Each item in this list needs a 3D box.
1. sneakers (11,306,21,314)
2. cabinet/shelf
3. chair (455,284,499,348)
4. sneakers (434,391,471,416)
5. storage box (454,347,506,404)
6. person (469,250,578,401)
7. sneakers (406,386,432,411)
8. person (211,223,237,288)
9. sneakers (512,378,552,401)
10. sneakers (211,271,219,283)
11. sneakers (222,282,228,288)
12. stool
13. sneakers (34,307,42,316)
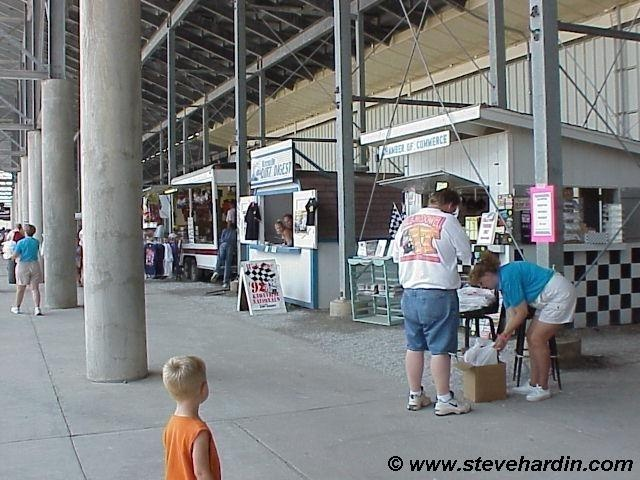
[{"bbox_3d":[-5.755,1.322,12.829,0.117,0.137,0.311,2,4,-30],"label":"sneakers"},{"bbox_3d":[0.985,0.866,11.576,0.611,1.071,0.839,-3,-2,-32],"label":"cabinet/shelf"},{"bbox_3d":[1.776,0.878,7.813,0.466,0.644,0.506,16,-25,-39],"label":"chair"},{"bbox_3d":[1.270,1.609,6.659,0.404,0.219,0.157,0,0,-18],"label":"sneakers"},{"bbox_3d":[1.717,1.454,7.035,0.538,0.379,0.295,-1,1,-15],"label":"storage box"},{"bbox_3d":[2.090,0.890,6.936,1.022,1.495,0.358,-3,4,-17],"label":"person"},{"bbox_3d":[0.989,1.600,6.826,0.120,0.153,0.336,1,4,30],"label":"sneakers"},{"bbox_3d":[-2.301,0.383,16.435,0.600,1.552,1.114,-2,4,-8],"label":"person"},{"bbox_3d":[2.170,1.553,6.989,0.410,0.169,0.149,-1,2,27],"label":"sneakers"},{"bbox_3d":[-2.789,1.010,17.994,0.153,0.417,0.180,14,40,-18],"label":"sneakers"},{"bbox_3d":[-2.264,1.102,16.109,0.091,0.107,0.251,0,-4,0],"label":"sneakers"},{"bbox_3d":[2.252,1.060,7.075,0.459,1.041,0.473,-7,7,-35],"label":"stool"},{"bbox_3d":[-5.207,1.340,12.538,0.107,0.118,0.293,1,-4,-30],"label":"sneakers"}]
